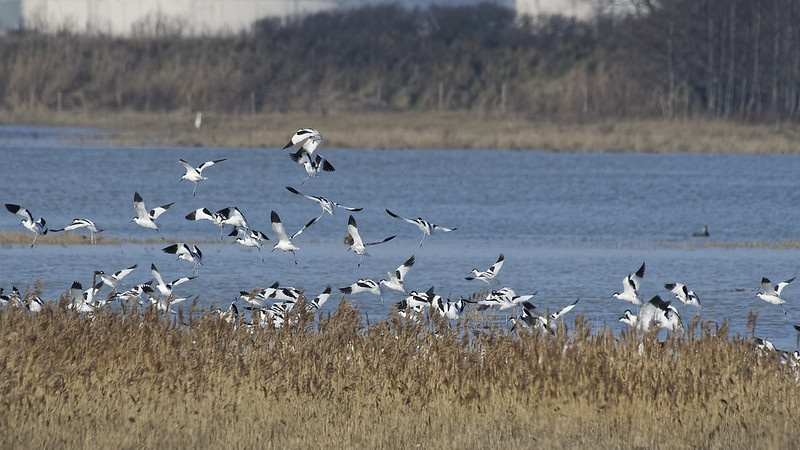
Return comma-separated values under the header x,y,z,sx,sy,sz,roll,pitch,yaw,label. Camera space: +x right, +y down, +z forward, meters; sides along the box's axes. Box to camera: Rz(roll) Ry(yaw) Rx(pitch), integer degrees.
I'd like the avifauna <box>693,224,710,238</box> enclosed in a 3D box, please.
x,y,z,sx,sy,sz,roll,pitch,yaw,label
21.701,0.476,122.027,0.628,0.948,1.801,19,10,29,avifauna
